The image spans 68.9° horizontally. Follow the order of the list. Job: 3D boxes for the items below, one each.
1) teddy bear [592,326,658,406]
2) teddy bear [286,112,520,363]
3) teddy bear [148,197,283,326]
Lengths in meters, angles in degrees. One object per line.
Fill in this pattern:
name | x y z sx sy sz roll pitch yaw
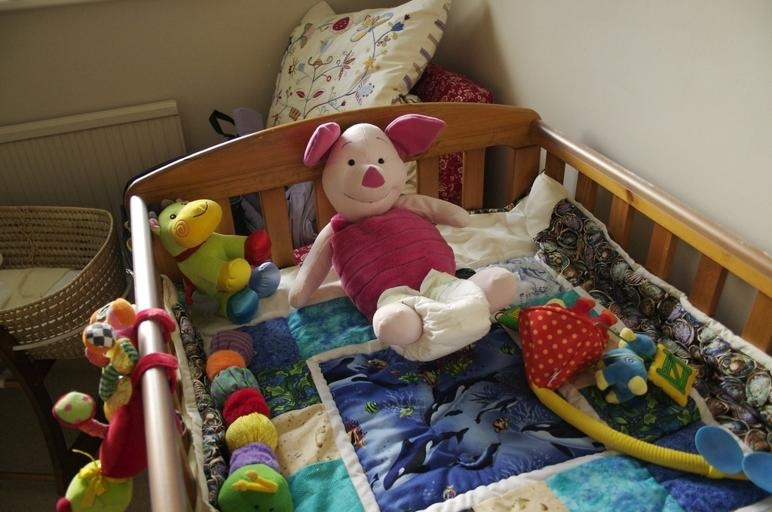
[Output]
teddy bear | 0.671 0.286 1.608 0.154 0.102 0.224 5 22 26
teddy bear | 0.018 -0.072 1.751 0.613 0.562 0.857 -17 42 -16
teddy bear | -0.483 -0.078 1.916 0.381 0.488 0.354 4 39 8
